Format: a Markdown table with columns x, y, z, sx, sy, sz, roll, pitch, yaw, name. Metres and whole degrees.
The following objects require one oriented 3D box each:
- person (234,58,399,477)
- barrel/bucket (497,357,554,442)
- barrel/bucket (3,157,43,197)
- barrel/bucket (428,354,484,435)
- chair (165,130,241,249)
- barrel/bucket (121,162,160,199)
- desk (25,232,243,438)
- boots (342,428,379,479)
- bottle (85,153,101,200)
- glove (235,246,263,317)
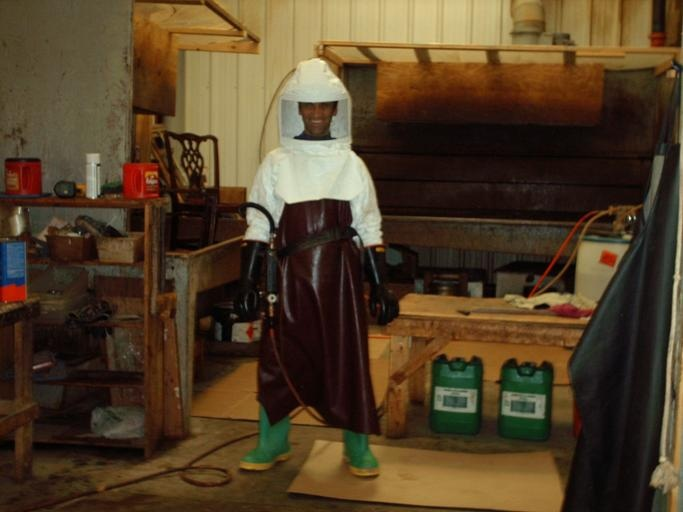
| x | y | z | sx | sy | sz | roll | pitch | yaw | name |
| --- | --- | --- | --- | --- | --- | --- | --- | --- | --- |
| -0.145 | 0.099 | 4.814 | 0.882 | 2.467 | 0.491 | 1 | 12 | 3 | person |
| 1.273 | 0.962 | 5.623 | 0.366 | 0.562 | 0.314 | 5 | 13 | 18 | barrel/bucket |
| -2.028 | -0.503 | 5.164 | 0.254 | 0.252 | 0.203 | 5 | 5 | 32 | barrel/bucket |
| 0.805 | 0.927 | 5.691 | 0.370 | 0.570 | 0.313 | 3 | 11 | 6 | barrel/bucket |
| -1.239 | -0.557 | 7.897 | 0.850 | 1.290 | 0.851 | -2 | 8 | -28 | chair |
| -1.317 | -0.491 | 5.305 | 0.175 | 0.236 | 0.243 | 2 | 8 | 16 | barrel/bucket |
| -1.413 | 0.660 | 5.858 | 1.503 | 1.439 | 1.078 | -1 | 9 | 2 | desk |
| 0.112 | 1.153 | 4.966 | 0.144 | 0.303 | 0.309 | -2 | 14 | -31 | boots |
| -1.641 | -0.530 | 5.343 | 0.099 | 0.277 | 0.251 | -3 | 12 | -19 | bottle |
| -0.567 | 0.117 | 4.848 | 0.133 | 0.414 | 0.208 | 7 | -3 | -43 | glove |
